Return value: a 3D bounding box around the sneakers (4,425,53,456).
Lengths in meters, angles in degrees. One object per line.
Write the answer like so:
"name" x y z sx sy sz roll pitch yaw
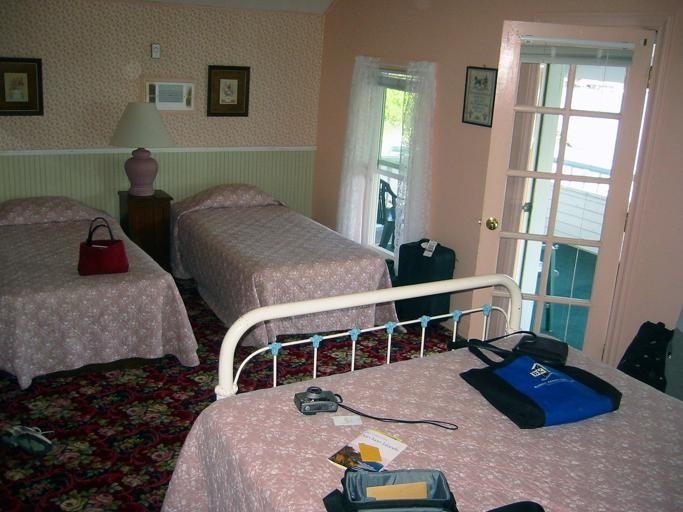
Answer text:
"sneakers" -1.841 1.096 2.941 0.272 0.091 0.109 17 2 6

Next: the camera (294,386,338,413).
"camera" -0.096 0.612 2.140 0.130 0.053 0.124 0 6 -19

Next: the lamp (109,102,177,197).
"lamp" -2.104 -1.117 5.234 0.514 0.993 0.489 16 21 40

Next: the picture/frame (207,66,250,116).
"picture/frame" -1.359 -1.999 5.943 0.633 0.646 0.047 -7 21 -31

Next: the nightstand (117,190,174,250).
"nightstand" -2.072 -0.377 5.296 0.532 0.781 0.505 -10 22 -32

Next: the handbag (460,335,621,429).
"handbag" 0.923 0.560 2.420 0.634 0.180 0.621 -2 16 -17
